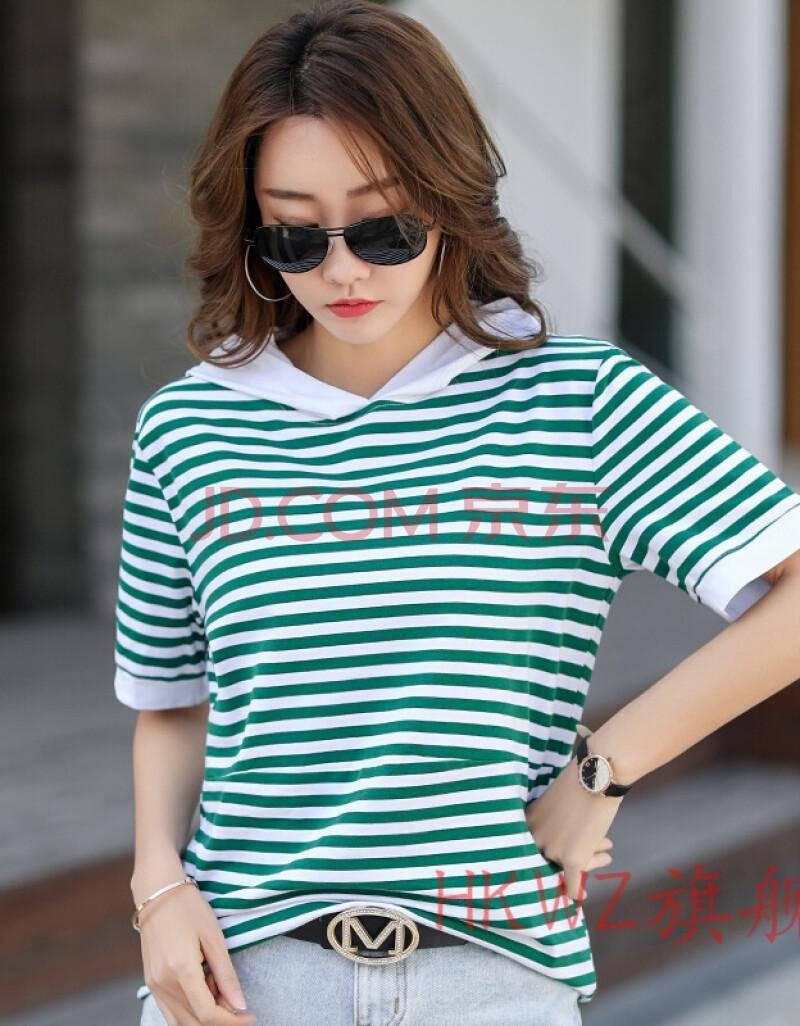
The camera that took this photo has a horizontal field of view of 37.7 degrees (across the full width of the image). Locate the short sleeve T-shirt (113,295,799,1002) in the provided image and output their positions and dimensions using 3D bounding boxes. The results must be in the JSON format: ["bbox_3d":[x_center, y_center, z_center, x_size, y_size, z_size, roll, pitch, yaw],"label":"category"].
[{"bbox_3d":[0.009,0.152,1.551,0.673,0.734,0.786,-12,30,-27],"label":"short sleeve T-shirt"}]

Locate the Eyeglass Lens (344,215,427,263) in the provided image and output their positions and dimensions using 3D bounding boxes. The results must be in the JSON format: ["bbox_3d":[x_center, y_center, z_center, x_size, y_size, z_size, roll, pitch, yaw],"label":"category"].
[{"bbox_3d":[-0.013,-0.339,1.448,0.084,0.028,0.074,-5,18,1],"label":"Eyeglass Lens"}]

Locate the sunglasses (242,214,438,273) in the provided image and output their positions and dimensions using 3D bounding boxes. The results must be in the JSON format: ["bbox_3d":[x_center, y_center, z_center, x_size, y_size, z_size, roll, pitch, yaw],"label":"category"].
[{"bbox_3d":[-0.064,-0.339,1.469,0.147,0.034,0.128,-2,-2,8],"label":"sunglasses"}]
